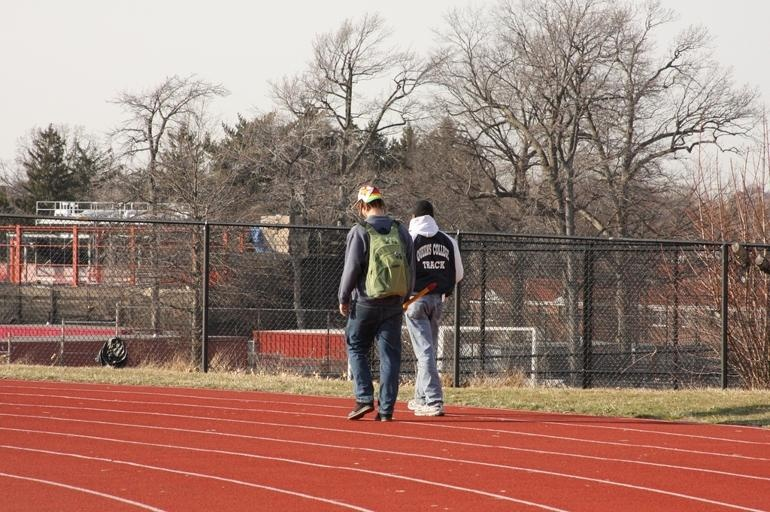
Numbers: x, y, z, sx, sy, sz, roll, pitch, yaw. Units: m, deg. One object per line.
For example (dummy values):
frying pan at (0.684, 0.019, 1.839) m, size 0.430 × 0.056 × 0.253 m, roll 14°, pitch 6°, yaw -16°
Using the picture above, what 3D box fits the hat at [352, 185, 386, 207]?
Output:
hat at (-0.296, -1.100, 20.784) m, size 0.499 × 0.405 × 0.852 m, roll 7°, pitch 13°, yaw -1°
